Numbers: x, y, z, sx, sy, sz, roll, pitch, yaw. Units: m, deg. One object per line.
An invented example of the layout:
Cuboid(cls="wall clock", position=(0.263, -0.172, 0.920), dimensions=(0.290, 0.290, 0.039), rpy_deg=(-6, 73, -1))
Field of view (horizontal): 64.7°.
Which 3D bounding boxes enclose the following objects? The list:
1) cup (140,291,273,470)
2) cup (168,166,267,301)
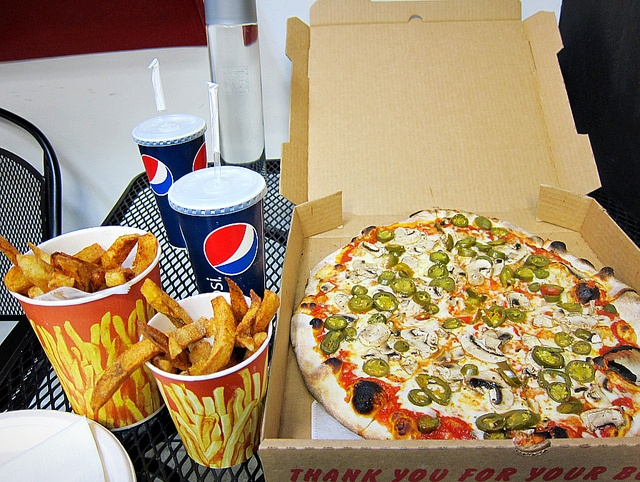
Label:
Cuboid(cls="cup", position=(-0.198, 0.248, 0.902), dimensions=(0.232, 0.236, 0.234), rpy_deg=(-1, 38, 1))
Cuboid(cls="cup", position=(-0.221, -0.023, 1.173), dimensions=(0.178, 0.352, 0.157), rpy_deg=(-1, 27, -1))
